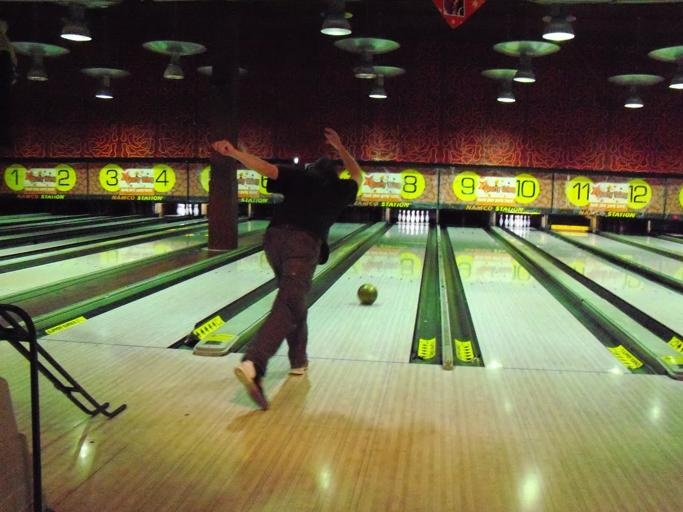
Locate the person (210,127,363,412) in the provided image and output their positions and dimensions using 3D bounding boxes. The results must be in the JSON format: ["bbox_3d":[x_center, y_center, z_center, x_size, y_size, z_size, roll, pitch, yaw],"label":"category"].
[{"bbox_3d":[-0.228,0.004,2.218,0.403,1.187,0.868,4,10,22],"label":"person"}]

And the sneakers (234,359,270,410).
[{"bbox_3d":[-0.357,0.513,2.001,0.117,0.238,0.213,-1,9,-5],"label":"sneakers"}]

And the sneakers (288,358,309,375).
[{"bbox_3d":[-0.210,0.540,2.412,0.045,0.046,0.113,5,10,21],"label":"sneakers"}]
